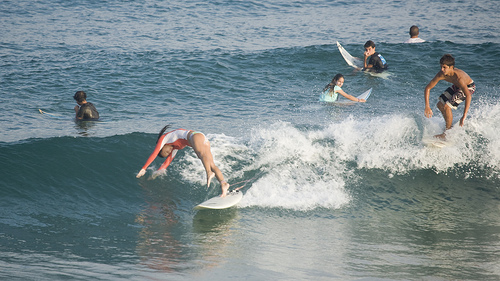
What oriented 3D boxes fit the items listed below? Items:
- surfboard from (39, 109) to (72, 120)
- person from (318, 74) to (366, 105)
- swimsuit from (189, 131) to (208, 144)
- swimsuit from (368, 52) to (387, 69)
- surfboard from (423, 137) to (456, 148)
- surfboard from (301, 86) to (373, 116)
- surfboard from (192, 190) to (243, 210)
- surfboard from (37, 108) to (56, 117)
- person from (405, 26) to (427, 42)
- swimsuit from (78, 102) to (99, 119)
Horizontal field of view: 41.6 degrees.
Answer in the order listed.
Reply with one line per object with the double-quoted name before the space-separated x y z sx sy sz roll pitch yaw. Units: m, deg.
"surfboard" -8.906 -1.142 29.995 2.044 0.180 0.217 10 -2 17
"person" 4.401 -2.350 31.052 0.870 1.317 2.731 -40 22 -24
"swimsuit" -2.030 -0.123 25.455 0.613 0.133 0.537 7 7 -35
"swimsuit" 6.510 -4.044 33.699 1.174 0.816 0.625 -17 13 -37
"surfboard" 7.749 0.142 26.968 1.250 0.502 0.384 1 30 11
"surfboard" 4.191 -1.815 31.277 3.574 0.296 0.629 -18 42 -9
"surfboard" -1.102 2.373 25.368 1.870 0.446 0.665 -17 29 -26
"surfboard" -9.426 -1.210 30.157 1.215 0.147 0.266 21 21 28
"person" 9.116 -5.817 36.371 0.970 0.867 0.493 9 33 25
"swimsuit" -7.238 -1.232 29.211 0.851 0.652 0.540 -13 29 -14
